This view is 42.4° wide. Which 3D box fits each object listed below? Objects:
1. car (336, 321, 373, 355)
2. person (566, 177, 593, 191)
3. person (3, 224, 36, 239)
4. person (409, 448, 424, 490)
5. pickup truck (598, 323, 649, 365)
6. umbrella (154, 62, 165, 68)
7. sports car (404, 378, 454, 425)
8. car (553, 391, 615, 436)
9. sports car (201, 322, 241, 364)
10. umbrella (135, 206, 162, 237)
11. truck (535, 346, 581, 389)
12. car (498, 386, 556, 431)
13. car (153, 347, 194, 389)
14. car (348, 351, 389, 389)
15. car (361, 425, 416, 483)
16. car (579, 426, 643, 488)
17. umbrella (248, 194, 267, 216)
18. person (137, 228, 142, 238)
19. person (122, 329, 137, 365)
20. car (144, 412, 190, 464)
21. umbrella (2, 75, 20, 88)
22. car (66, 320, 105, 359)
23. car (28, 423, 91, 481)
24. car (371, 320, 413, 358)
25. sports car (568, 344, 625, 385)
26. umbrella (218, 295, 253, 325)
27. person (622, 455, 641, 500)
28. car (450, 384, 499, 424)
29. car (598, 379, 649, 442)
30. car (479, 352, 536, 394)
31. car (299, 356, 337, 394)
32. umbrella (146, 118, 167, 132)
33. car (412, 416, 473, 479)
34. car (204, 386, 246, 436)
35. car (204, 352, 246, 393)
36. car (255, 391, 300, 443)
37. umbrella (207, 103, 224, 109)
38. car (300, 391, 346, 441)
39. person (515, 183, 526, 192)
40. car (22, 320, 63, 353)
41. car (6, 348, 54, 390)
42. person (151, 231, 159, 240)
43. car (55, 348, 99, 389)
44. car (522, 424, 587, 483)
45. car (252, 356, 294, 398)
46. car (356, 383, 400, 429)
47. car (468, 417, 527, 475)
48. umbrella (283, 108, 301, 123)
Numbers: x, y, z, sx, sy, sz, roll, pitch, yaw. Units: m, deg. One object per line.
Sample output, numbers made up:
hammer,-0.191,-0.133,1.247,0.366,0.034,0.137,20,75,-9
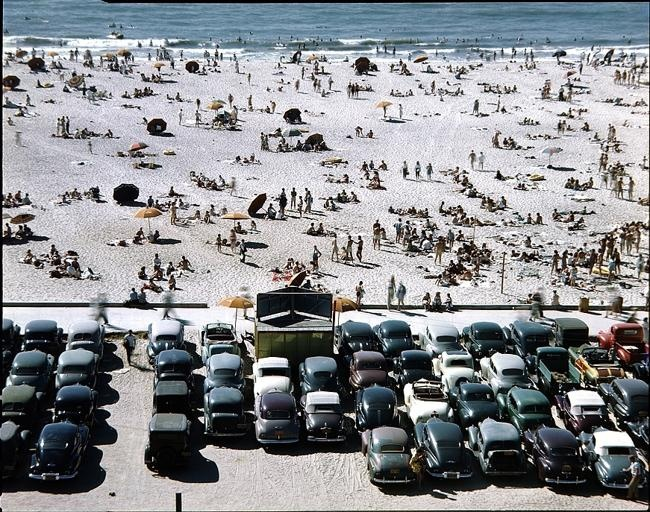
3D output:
car,1.181,3.564,35.454,1.000,0.798,1.656,-1,27,-4
person,17.948,-5.052,58.952,2.042,0.700,1.403,-4,18,-21
person,-18.050,-1.266,48.523,1.169,0.410,1.143,-7,22,-9
person,3.002,6.962,27.595,0.473,1.287,0.348,4,18,6
pickup truck,12.824,3.723,35.636,1.352,1.122,2.159,-2,27,-3
umbrella,-18.976,-21.360,93.545,0.907,0.315,0.991,-9,19,-15
sports car,3.843,5.326,31.274,1.697,1.156,2.675,-3,20,-9
car,9.688,5.724,31.114,1.790,1.405,3.024,-2,9,1
sports car,-4.552,3.483,35.242,1.652,1.193,2.860,0,18,-15
umbrella,-10.803,-1.990,49.901,1.783,1.835,1.846,-2,15,3
truck,9.324,4.624,33.484,1.655,1.519,2.675,3,9,-5
car,7.514,5.556,31.013,1.742,1.361,2.887,-5,12,-6
car,-6.091,4.424,33.017,1.716,1.521,2.992,0,12,-12
car,1.658,4.583,32.692,1.465,1.145,1.774,2,17,-2
car,2.172,6.585,28.732,1.772,1.331,3.052,-3,16,-7
car,9.539,6.612,27.905,1.226,0.922,2.059,-1,38,2
umbrella,-4.470,-3.147,52.985,0.660,1.335,1.327,32,-17,18
person,-11.120,-1.388,49.182,0.373,0.459,0.790,-2,18,-13
person,-8.492,3.628,35.667,0.519,1.306,1.967,-2,18,-14
car,-5.525,6.146,29.167,1.753,1.347,2.898,2,18,-6
umbrella,-30.716,-16.637,80.437,1.137,1.128,1.979,2,17,-3
car,-10.284,3.507,34.995,1.542,1.242,2.513,2,7,-14
car,-9.225,6.301,28.472,1.785,1.237,3.777,5,13,-14
car,2.923,3.465,36.318,1.635,1.401,2.835,-1,18,-6
sports car,11.037,4.365,33.948,1.718,1.039,3.117,-1,18,-4
umbrella,-4.116,2.450,37.844,1.196,0.793,1.174,3,5,10
person,10.100,7.232,27.322,0.511,1.191,0.729,2,18,-2
car,5.489,5.570,30.675,1.081,0.851,1.784,-2,31,-2
car,11.293,5.598,30.821,1.222,0.963,2.021,-2,36,-3
car,7.267,4.640,33.457,1.691,1.398,4.031,-3,11,0
car,-0.278,4.824,32.302,1.425,1.303,2.082,0,17,-6
umbrella,-14.802,-11.126,71.508,1.407,1.335,0.910,18,2,-21
car,4.052,6.405,29.043,1.742,1.185,3.507,0,16,-4
car,-3.818,5.462,30.734,1.677,1.323,2.786,1,17,-11
car,-3.999,4.558,32.926,1.711,1.485,2.916,1,17,-5
car,-1.848,5.622,30.522,1.761,1.309,2.977,1,18,-4
umbrella,-10.400,-13.804,77.409,1.366,0.739,1.878,0,17,-9
car,-0.176,5.737,30.588,1.655,1.238,2.901,2,16,-5
person,13.816,-4.831,58.748,0.811,0.328,1.095,6,17,12
car,-12.151,3.315,35.179,1.559,1.337,2.662,6,13,-16
car,-11.349,4.524,31.914,1.100,0.895,1.867,4,31,-7
person,-10.174,-1.210,49.181,0.355,0.448,0.850,-1,17,-10
car,-9.964,4.569,32.708,1.627,1.302,2.793,2,3,-17
car,7.944,6.581,28.945,1.622,1.282,3.694,-3,10,2
car,-2.096,4.782,32.499,1.624,1.215,2.712,-1,15,-8
car,1.916,5.452,31.046,1.681,1.364,2.609,1,21,2
car,5.975,6.450,29.003,1.737,1.307,2.989,-2,13,2
umbrella,-3.139,-12.590,75.486,1.414,1.371,1.192,-9,21,-11
